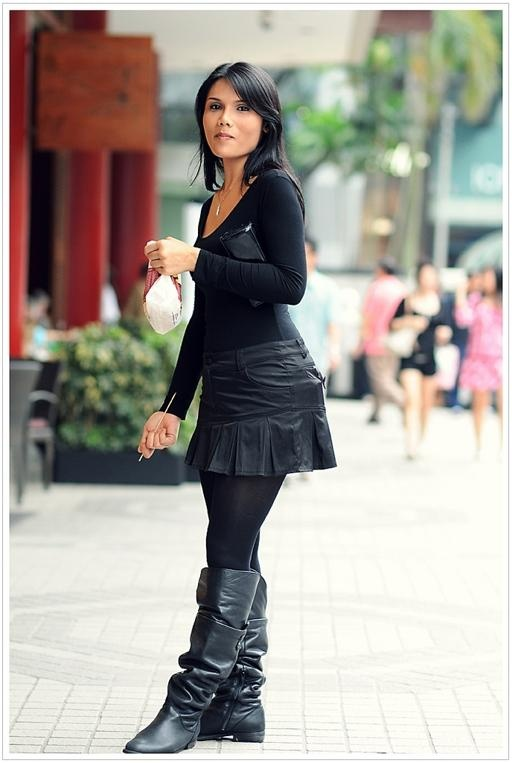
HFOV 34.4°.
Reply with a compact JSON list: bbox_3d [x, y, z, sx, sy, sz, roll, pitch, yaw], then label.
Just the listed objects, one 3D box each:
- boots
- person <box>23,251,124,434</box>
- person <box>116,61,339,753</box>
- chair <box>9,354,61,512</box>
[{"bbox_3d":[-0.161,0.692,2.044,0.311,0.455,0.128,1,1,0],"label":"boots"},{"bbox_3d":[-1.879,-0.446,8.582,0.983,2.422,1.017,-4,14,-20],"label":"person"},{"bbox_3d":[0.004,0.166,2.209,0.522,1.825,0.553,-2,16,-24],"label":"person"},{"bbox_3d":[-1.728,0.349,6.300,0.415,1.060,0.513,-1,14,-6],"label":"chair"}]
